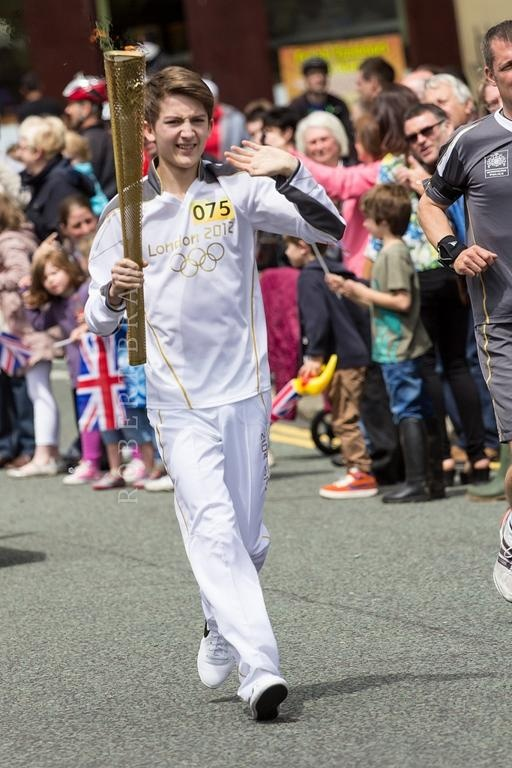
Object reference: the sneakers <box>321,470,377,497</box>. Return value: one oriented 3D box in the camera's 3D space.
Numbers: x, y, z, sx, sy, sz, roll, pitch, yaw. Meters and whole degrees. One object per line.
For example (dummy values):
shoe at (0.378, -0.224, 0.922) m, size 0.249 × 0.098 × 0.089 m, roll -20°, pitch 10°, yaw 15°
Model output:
sneakers at (0.627, 0.656, 5.668) m, size 0.415 × 0.154 × 0.157 m, roll 0°, pitch -3°, yaw -6°

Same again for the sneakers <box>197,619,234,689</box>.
sneakers at (-0.094, 0.777, 2.499) m, size 0.085 × 0.215 × 0.094 m, roll 24°, pitch -41°, yaw -27°

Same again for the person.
person at (-0.016, -0.012, 2.439) m, size 0.469 × 1.764 × 0.582 m, roll -7°, pitch 5°, yaw -31°
